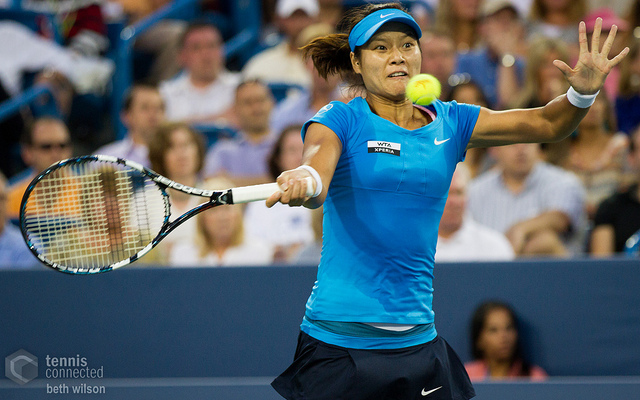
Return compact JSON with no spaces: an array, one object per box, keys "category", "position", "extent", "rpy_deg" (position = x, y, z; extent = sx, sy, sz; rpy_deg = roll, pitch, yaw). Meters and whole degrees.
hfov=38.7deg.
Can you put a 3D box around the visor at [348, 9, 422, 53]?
[{"category":"visor","position":[0.542,-1.423,7.662],"extent":[0.610,0.347,0.178],"rpy_deg":[-3,11,1]}]

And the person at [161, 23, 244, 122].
[{"category":"person","position":[-1.649,-1.675,12.329],"extent":[1.348,0.874,0.627],"rpy_deg":[-4,-20,-7]}]

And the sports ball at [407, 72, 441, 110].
[{"category":"sports ball","position":[0.892,-0.930,7.767],"extent":[0.289,0.299,0.298],"rpy_deg":[-6,5,1]}]

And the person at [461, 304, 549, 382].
[{"category":"person","position":[1.782,1.489,9.314],"extent":[1.050,0.932,0.584],"rpy_deg":[-3,-8,-14]}]
